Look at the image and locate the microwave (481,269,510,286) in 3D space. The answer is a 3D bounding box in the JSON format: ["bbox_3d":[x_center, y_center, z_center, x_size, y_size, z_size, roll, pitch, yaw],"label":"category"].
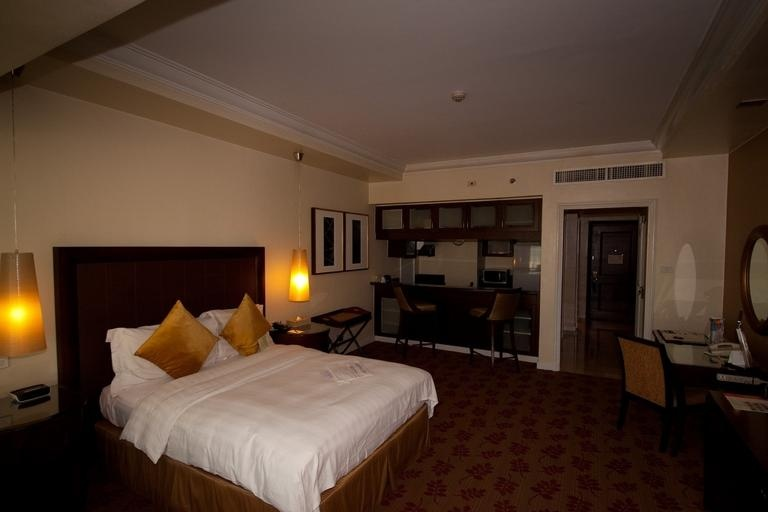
[{"bbox_3d":[1.758,0.366,8.018,0.366,0.254,0.253,-1,-6,29],"label":"microwave"}]

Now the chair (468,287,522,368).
[{"bbox_3d":[1.621,1.025,7.426,0.720,1.255,0.810,2,13,10],"label":"chair"}]

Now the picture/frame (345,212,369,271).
[{"bbox_3d":[-0.457,-0.235,8.166,0.041,1.077,0.919,-1,0,22],"label":"picture/frame"}]

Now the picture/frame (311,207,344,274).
[{"bbox_3d":[-0.862,-0.228,7.520,0.108,1.227,0.958,2,1,29],"label":"picture/frame"}]

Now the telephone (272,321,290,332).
[{"bbox_3d":[-1.347,0.920,6.527,0.141,0.056,0.115,3,3,38],"label":"telephone"}]
